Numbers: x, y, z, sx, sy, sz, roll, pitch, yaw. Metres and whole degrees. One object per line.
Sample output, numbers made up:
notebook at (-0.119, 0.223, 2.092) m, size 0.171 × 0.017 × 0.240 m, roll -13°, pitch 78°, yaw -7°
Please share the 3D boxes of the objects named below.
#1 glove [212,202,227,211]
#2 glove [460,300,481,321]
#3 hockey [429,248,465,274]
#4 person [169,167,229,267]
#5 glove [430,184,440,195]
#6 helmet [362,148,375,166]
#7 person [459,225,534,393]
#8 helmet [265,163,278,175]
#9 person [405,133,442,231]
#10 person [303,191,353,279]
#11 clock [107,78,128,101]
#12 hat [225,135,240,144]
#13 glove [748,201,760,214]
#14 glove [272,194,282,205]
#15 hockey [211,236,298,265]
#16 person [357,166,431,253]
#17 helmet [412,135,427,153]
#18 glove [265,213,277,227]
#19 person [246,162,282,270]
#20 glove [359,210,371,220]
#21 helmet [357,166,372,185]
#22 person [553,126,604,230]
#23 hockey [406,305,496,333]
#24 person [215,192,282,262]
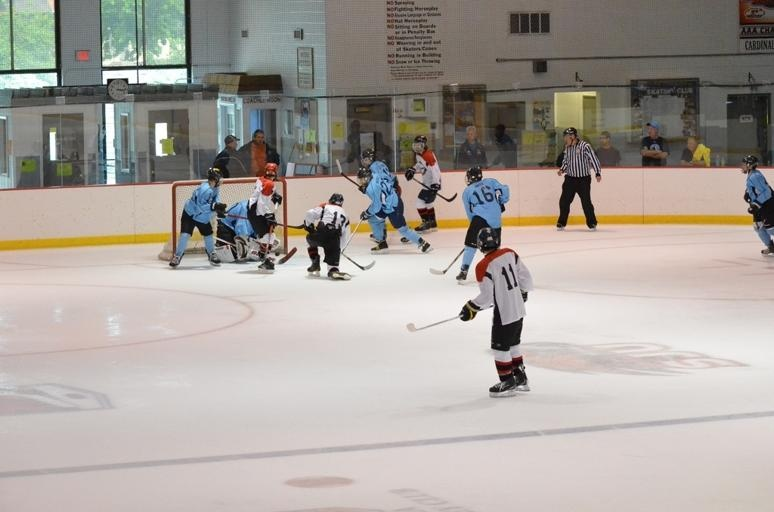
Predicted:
glove at (-2.300, -0.685, 11.840) m, size 0.124 × 0.107 × 0.221 m, roll 3°, pitch 8°, yaw 35°
glove at (0.681, 0.440, 6.999) m, size 0.071 × 0.129 × 0.179 m, roll -58°, pitch 4°, yaw -38°
hockey at (0.726, 0.135, 11.263) m, size 0.380 × 0.367 × 0.109 m, roll -5°, pitch 37°, yaw -41°
person at (-2.710, -0.537, 12.075) m, size 0.807 × 1.350 × 0.781 m, roll -3°, pitch 7°, yaw -13°
glove at (0.821, -1.121, 14.282) m, size 0.140 × 0.146 × 0.271 m, roll 2°, pitch 8°, yaw 26°
helmet at (-0.284, -1.460, 12.807) m, size 0.265 × 0.246 × 0.215 m, roll 1°, pitch 4°, yaw 11°
person at (0.933, 0.441, 6.965) m, size 0.573 × 1.310 × 0.375 m, roll -5°, pitch 8°, yaw -27°
helmet at (-1.628, -1.198, 11.923) m, size 0.148 × 0.159 × 0.229 m, roll -3°, pitch 7°, yaw -11°
person at (0.596, -1.305, 14.544) m, size 0.752 × 1.840 × 0.794 m, roll -8°, pitch 36°, yaw -11°
person at (-0.811, -0.252, 11.237) m, size 0.590 × 1.083 × 0.609 m, roll -2°, pitch 7°, yaw -4°
clock at (-4.311, -2.637, 13.632) m, size 0.324 × 0.350 × 0.431 m, roll -3°, pitch 7°, yaw -15°
hat at (-2.534, -1.888, 13.876) m, size 0.132 × 0.095 × 0.189 m, roll 1°, pitch 7°, yaw 37°
glove at (5.232, -0.698, 12.213) m, size 0.097 × 0.170 × 0.257 m, roll -2°, pitch 7°, yaw -3°
glove at (-1.542, -0.786, 11.964) m, size 0.138 × 0.142 × 0.056 m, roll 14°, pitch 0°, yaw 7°
hockey at (-2.038, -0.074, 12.378) m, size 0.764 × 0.272 × 0.599 m, roll 1°, pitch 5°, yaw 16°
person at (0.099, -0.747, 13.549) m, size 1.291 × 1.348 × 0.632 m, roll 9°, pitch 43°, yaw 13°
helmet at (0.481, -1.831, 14.038) m, size 0.235 × 0.286 × 0.295 m, roll -2°, pitch -5°, yaw 25°
glove at (-1.615, -0.505, 11.908) m, size 0.135 × 0.165 × 0.184 m, roll 0°, pitch 7°, yaw 15°
person at (-1.777, -0.587, 12.237) m, size 0.472 × 1.438 × 1.499 m, roll -3°, pitch 7°, yaw -9°
glove at (-0.333, -0.602, 12.710) m, size 0.234 × 0.107 × 0.311 m, roll -2°, pitch 5°, yaw -3°
helmet at (-0.335, -1.155, 12.410) m, size 0.168 × 0.253 × 0.472 m, roll -2°, pitch 7°, yaw -3°
person at (3.256, -1.302, 14.588) m, size 0.711 × 1.725 × 0.258 m, roll 0°, pitch 7°, yaw 12°
hockey at (0.639, 0.642, 8.522) m, size 0.986 × 0.132 × 0.108 m, roll -17°, pitch -22°, yaw -35°
person at (-2.105, -0.468, 12.650) m, size 0.697 × 1.087 × 1.123 m, roll 13°, pitch 20°, yaw 40°
